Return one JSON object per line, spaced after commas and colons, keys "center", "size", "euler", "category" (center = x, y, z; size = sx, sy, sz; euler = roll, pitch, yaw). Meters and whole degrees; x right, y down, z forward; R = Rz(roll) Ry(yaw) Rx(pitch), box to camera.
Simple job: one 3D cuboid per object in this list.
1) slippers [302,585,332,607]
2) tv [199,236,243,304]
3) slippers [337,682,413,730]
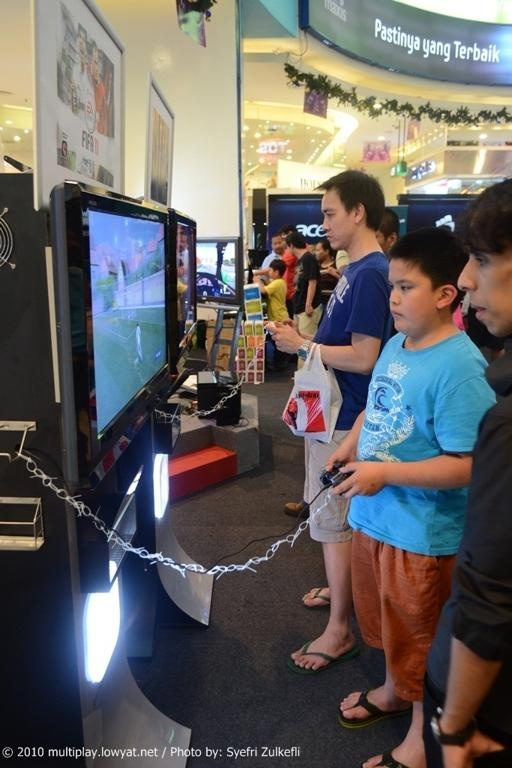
{"center": [0.246, 0.853, 2.188], "size": [0.133, 0.041, 0.076], "euler": [0, 9, -5], "category": "slippers"}
{"center": [-0.280, -0.952, 4.478], "size": [0.060, 0.579, 0.501], "euler": [-7, 11, -37], "category": "tv"}
{"center": [0.343, 0.940, 1.591], "size": [0.174, 0.054, 0.105], "euler": [0, 12, -6], "category": "slippers"}
